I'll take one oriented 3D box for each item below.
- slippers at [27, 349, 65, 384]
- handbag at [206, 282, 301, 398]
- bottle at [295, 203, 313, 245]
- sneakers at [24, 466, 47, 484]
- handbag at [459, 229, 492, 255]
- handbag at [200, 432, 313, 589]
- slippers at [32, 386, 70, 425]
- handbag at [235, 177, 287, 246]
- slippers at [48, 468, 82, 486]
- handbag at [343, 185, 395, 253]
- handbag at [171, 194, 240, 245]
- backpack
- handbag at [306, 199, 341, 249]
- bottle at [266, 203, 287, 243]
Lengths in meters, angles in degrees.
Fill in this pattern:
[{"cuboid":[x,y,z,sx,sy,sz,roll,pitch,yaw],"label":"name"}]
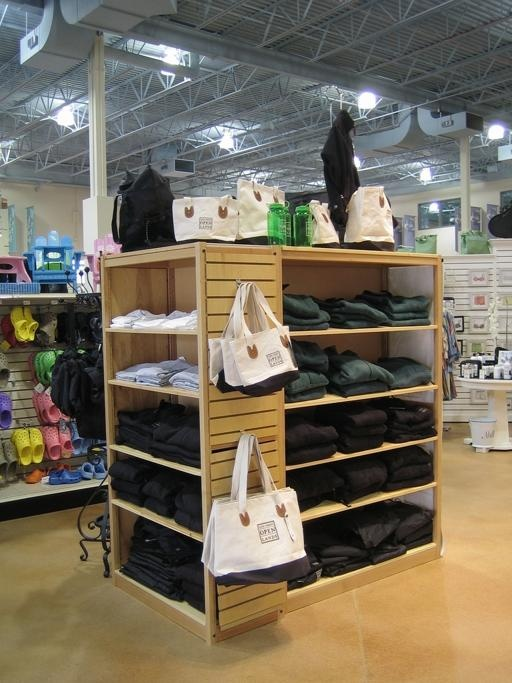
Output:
[{"cuboid":[-1.922,0.242,5.021,0.275,0.348,0.214,-3,-3,33],"label":"slippers"},{"cuboid":[-0.019,-0.027,2.184,0.339,0.478,0.364,-1,-3,-9],"label":"handbag"},{"cuboid":[0.247,-0.598,2.835,0.095,0.253,0.242,-2,-3,6],"label":"bottle"},{"cuboid":[-2.001,1.217,4.903,0.105,0.075,0.197,5,-1,15],"label":"sneakers"},{"cuboid":[3.492,-1.582,8.604,0.422,0.500,0.564,-2,-3,18],"label":"handbag"},{"cuboid":[-0.001,0.678,2.218,0.423,0.576,0.189,0,-3,-28],"label":"handbag"},{"cuboid":[-1.932,0.590,4.981,0.342,0.383,0.201,-2,-3,11],"label":"slippers"},{"cuboid":[0.036,-0.661,2.772,0.325,0.303,0.115,-8,7,-43],"label":"handbag"},{"cuboid":[-1.682,1.184,4.752,0.231,0.090,0.133,0,0,-13],"label":"slippers"},{"cuboid":[0.663,-0.740,3.166,0.254,0.321,0.219,-5,11,-19],"label":"handbag"},{"cuboid":[-0.246,-0.583,2.535,0.335,0.219,0.145,-6,22,-28],"label":"handbag"},{"cuboid":[-0.580,-0.701,2.961,0.393,0.416,0.387,-3,9,33],"label":"backpack"},{"cuboid":[0.359,-0.658,3.032,0.151,0.244,0.254,-4,22,13],"label":"handbag"},{"cuboid":[0.103,-0.573,2.667,0.098,0.211,0.150,-2,-3,2],"label":"bottle"}]
